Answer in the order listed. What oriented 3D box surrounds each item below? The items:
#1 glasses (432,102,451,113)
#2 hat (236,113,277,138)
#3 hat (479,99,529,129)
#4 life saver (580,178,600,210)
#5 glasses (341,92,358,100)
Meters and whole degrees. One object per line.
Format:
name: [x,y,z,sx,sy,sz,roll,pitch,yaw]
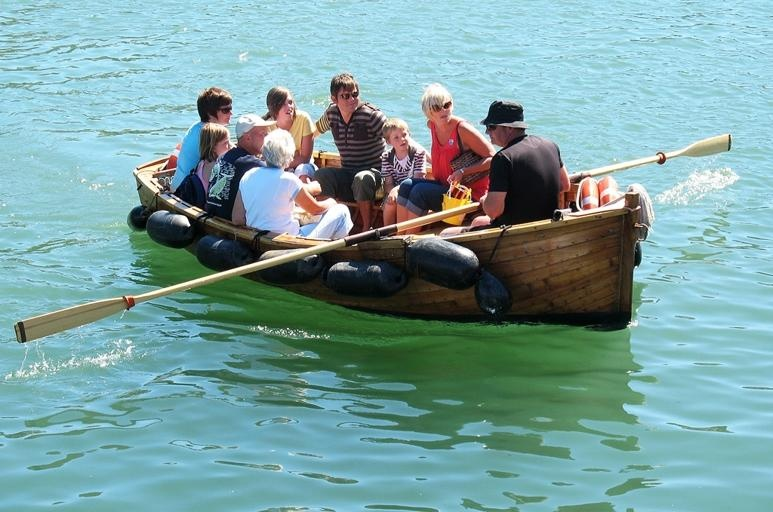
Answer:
glasses: [0.733,-1.963,13.945,0.204,0.048,0.184,-16,11,-21]
hat: [-1.793,-1.759,14.227,0.484,0.297,0.399,-2,22,-6]
hat: [1.472,-1.770,13.273,0.586,0.345,0.319,5,24,13]
life saver: [2.640,-0.809,13.769,0.209,0.141,0.522,-2,33,18]
glasses: [-0.512,-2.275,14.992,0.244,0.107,0.076,-13,28,-33]
